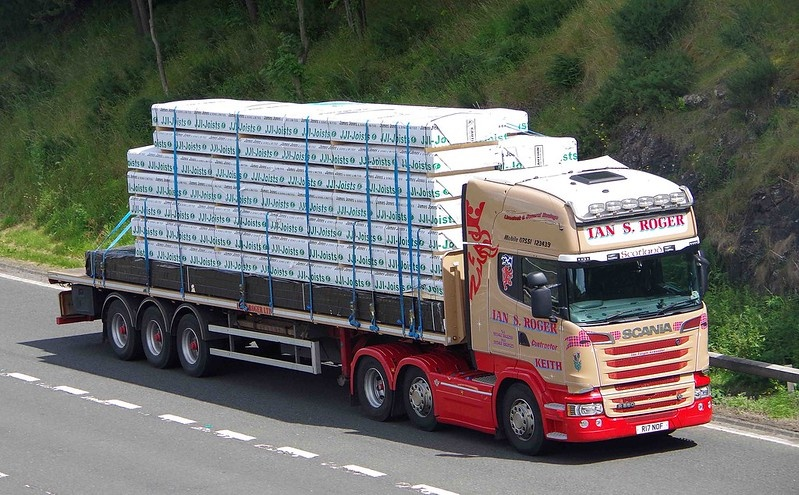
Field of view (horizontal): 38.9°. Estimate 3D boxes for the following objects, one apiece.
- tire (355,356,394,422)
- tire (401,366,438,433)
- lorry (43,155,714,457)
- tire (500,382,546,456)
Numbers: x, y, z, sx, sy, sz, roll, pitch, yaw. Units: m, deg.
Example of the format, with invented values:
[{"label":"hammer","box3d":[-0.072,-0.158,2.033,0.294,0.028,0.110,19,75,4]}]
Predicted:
[{"label":"tire","box3d":[-0.380,2.881,23.392,0.421,1.403,1.160,-10,7,-36]},{"label":"tire","box3d":[0.428,3.029,22.753,0.233,1.408,1.143,-7,10,-38]},{"label":"lorry","box3d":[-1.270,0.544,26.685,16.263,5.654,4.836,8,11,41]},{"label":"tire","box3d":[2.389,3.265,21.543,0.525,1.717,1.330,-2,0,-42]}]
